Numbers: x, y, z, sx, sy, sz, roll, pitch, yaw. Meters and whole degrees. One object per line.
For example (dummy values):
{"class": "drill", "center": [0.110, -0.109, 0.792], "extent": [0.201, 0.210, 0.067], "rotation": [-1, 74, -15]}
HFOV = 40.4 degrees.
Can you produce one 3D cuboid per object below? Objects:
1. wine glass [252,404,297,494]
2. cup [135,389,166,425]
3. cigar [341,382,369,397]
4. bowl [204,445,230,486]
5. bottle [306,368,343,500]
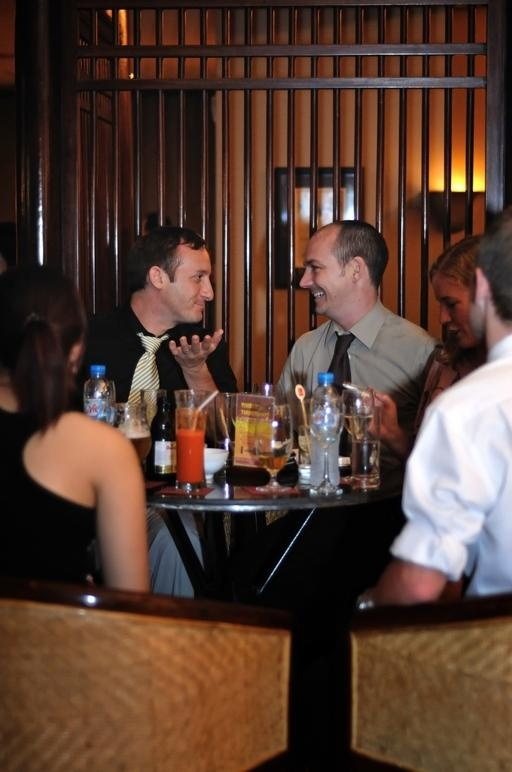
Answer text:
{"class": "wine glass", "center": [0.039, 0.130, 1.541], "extent": [0.079, 0.187, 0.135], "rotation": [-1, 3, -1]}
{"class": "cup", "center": [-0.250, 0.051, 1.665], "extent": [0.064, 0.120, 0.068], "rotation": [3, 2, 0]}
{"class": "cigar", "center": [0.235, 0.007, 1.698], "extent": [0.046, 0.012, 0.034], "rotation": [24, -3, -6]}
{"class": "bowl", "center": [-0.090, 0.189, 1.620], "extent": [0.060, 0.055, 0.065], "rotation": [0, 3, 0]}
{"class": "bottle", "center": [0.155, 0.115, 1.533], "extent": [0.069, 0.213, 0.237], "rotation": [0, 3, 5]}
